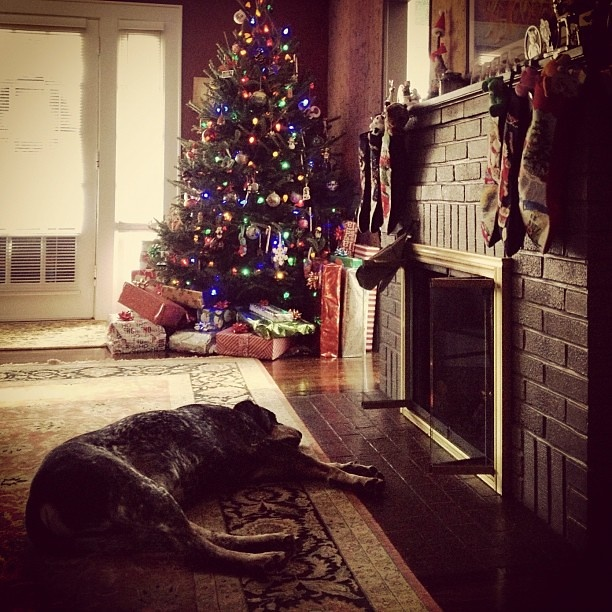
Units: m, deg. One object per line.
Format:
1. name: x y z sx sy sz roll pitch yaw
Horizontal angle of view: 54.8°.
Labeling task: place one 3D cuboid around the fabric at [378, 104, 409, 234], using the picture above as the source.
1. fabric: 0.436 -0.683 2.982 0.134 0.607 0.293 3 7 9

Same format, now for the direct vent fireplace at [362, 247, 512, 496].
1. direct vent fireplace: 0.553 0.278 2.468 0.309 0.923 0.947 0 3 -14

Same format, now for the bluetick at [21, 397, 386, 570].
1. bluetick: -0.268 0.525 1.824 0.661 0.328 0.931 7 8 36

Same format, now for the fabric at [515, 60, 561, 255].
1. fabric: 0.679 -0.431 1.739 0.091 0.539 0.107 -5 9 -44

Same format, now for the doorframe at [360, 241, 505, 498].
1. doorframe: 0.643 0.182 2.683 0.243 0.795 0.816 -6 9 8
